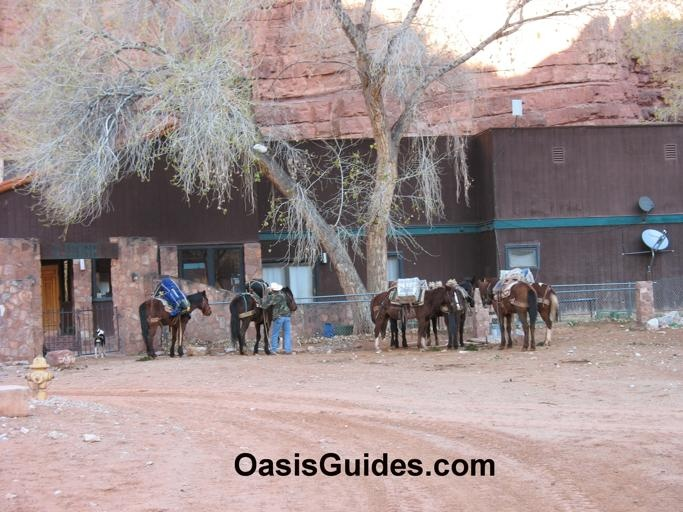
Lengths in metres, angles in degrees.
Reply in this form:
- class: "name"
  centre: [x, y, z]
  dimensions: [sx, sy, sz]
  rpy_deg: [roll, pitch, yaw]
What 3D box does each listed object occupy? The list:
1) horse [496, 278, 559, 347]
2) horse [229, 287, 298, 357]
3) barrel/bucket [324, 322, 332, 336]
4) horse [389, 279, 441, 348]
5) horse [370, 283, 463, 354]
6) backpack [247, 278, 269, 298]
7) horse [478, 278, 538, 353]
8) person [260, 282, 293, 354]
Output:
- class: "horse"
  centre: [4.932, 1.461, 20.269]
  dimensions: [2.512, 1.842, 0.623]
  rpy_deg: [8, -10, -22]
- class: "horse"
  centre: [-2.355, 1.987, 21.907]
  dimensions: [1.874, 1.631, 0.770]
  rpy_deg: [6, -9, -38]
- class: "barrel/bucket"
  centre: [-0.484, 2.668, 26.883]
  dimensions: [0.271, 0.449, 0.522]
  rpy_deg: [-1, 3, -22]
- class: "horse"
  centre: [2.146, 1.725, 21.842]
  dimensions: [1.406, 2.210, 2.068]
  rpy_deg: [1, 3, 5]
- class: "horse"
  centre: [2.126, 1.767, 21.434]
  dimensions: [2.573, 1.794, 0.782]
  rpy_deg: [-2, -4, 15]
- class: "backpack"
  centre: [-2.439, 0.920, 21.705]
  dimensions: [0.588, 0.633, 0.492]
  rpy_deg: [5, 8, -30]
- class: "horse"
  centre: [4.764, 1.580, 20.859]
  dimensions: [0.641, 2.089, 2.711]
  rpy_deg: [-2, -2, -21]
- class: "person"
  centre: [-1.815, 1.774, 21.474]
  dimensions: [0.827, 2.057, 0.766]
  rpy_deg: [-3, 16, -1]
